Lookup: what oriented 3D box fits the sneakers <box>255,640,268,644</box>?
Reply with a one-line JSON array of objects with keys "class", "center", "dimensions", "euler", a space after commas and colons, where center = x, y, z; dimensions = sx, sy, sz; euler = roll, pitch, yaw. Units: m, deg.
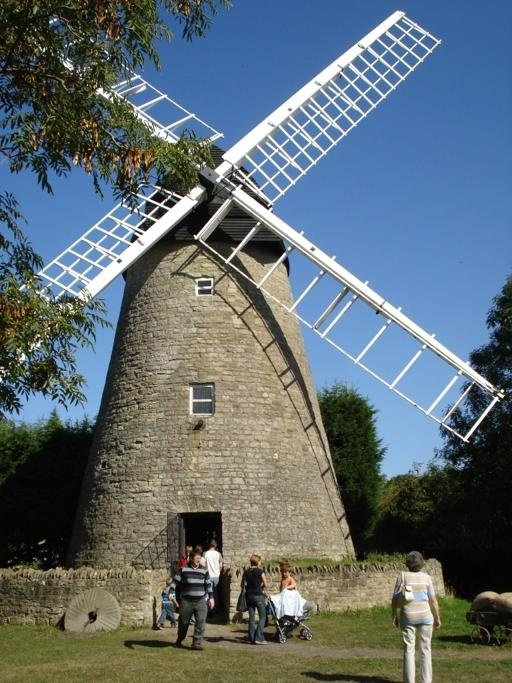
[{"class": "sneakers", "center": [0.066, 4.713, 11.629], "dimensions": [0.188, 0.067, 0.058], "euler": [-1, -20, 0]}]

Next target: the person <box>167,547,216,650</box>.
[{"class": "person", "center": [-0.959, 3.762, 10.803], "dimensions": [0.720, 1.331, 0.578], "euler": [1, -5, -3]}]

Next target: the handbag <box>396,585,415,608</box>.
[{"class": "handbag", "center": [1.685, 2.901, 8.457], "dimensions": [0.283, 0.241, 0.132], "euler": [8, -17, -44]}]

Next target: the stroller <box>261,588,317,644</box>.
[{"class": "stroller", "center": [0.543, 4.422, 12.016], "dimensions": [0.757, 0.768, 0.608], "euler": [1, -15, -9]}]
